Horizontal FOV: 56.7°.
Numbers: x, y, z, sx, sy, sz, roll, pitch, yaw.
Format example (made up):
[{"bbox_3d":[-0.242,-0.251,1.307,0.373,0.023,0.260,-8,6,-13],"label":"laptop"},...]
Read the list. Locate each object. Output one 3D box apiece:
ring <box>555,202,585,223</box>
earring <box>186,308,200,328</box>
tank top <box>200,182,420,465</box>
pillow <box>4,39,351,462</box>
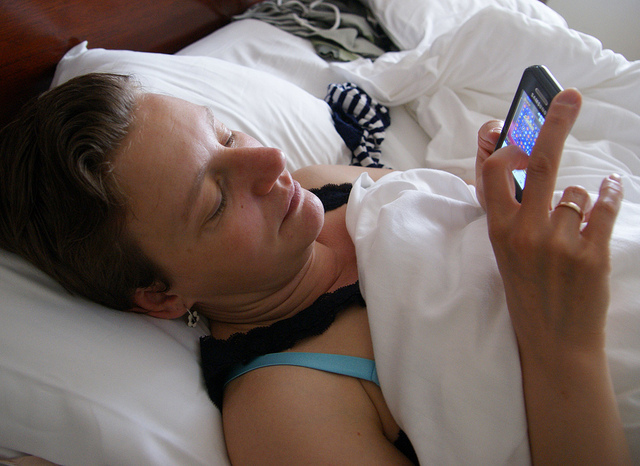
[{"bbox_3d":[0.539,-0.047,1.276,0.045,0.046,0.013,37,96,4],"label":"ring"},{"bbox_3d":[-0.336,0.221,1.580,0.012,0.042,0.030,-11,27,39],"label":"earring"},{"bbox_3d":[-0.070,0.260,1.510,0.556,0.230,0.636,-23,66,-9],"label":"tank top"},{"bbox_3d":[-0.473,0.384,1.898,0.910,0.233,1.086,18,80,-28],"label":"pillow"}]
